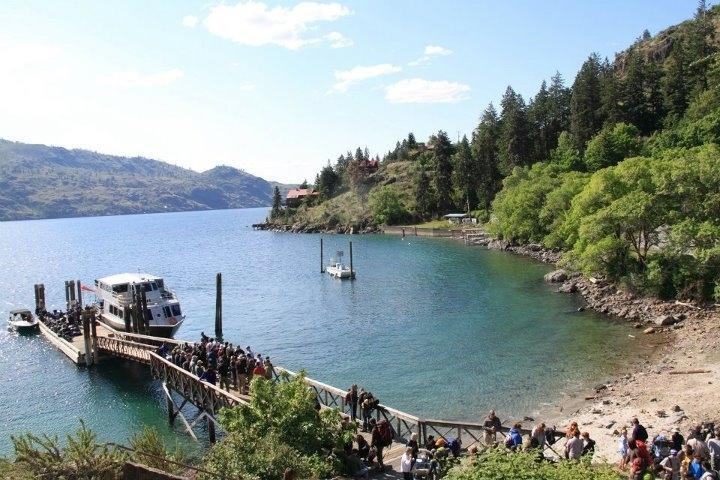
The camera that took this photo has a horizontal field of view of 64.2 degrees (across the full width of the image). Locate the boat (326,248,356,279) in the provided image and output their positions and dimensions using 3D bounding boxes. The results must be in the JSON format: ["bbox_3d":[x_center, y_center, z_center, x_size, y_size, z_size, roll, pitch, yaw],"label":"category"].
[{"bbox_3d":[-3.043,4.751,93.341,2.592,3.526,7.621,-1,1,-15],"label":"boat"}]
